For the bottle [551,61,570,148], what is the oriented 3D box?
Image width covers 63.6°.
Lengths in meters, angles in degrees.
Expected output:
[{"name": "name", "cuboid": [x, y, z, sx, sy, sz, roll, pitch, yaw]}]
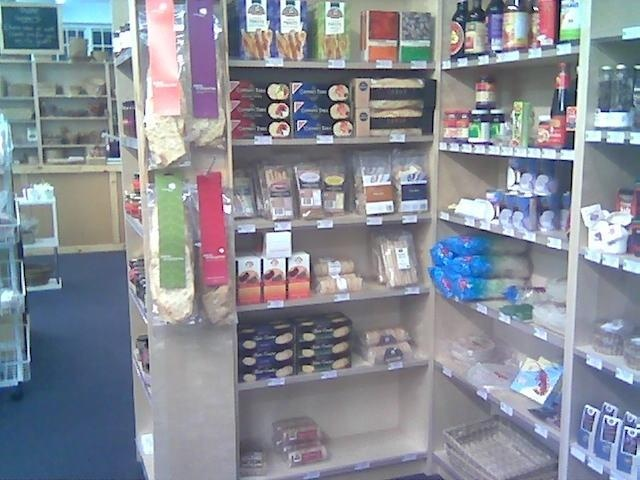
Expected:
[{"name": "bottle", "cuboid": [1.162, -0.656, 2.514, 0.081, 0.390, 0.160, 2, 15, 26]}]

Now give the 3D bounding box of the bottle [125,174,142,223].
[{"name": "bottle", "cuboid": [-1.168, -0.256, 3.248, 0.096, 0.344, 0.245, -1, 5, -4]}]

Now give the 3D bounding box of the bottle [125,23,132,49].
[{"name": "bottle", "cuboid": [-1.086, -1.167, 2.938, 0.022, 0.151, 0.198, -8, 14, -17]}]

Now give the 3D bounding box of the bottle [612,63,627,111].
[{"name": "bottle", "cuboid": [1.325, -0.672, 2.284, 0.065, 0.194, 0.202, 4, 16, 31]}]

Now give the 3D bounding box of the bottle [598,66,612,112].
[{"name": "bottle", "cuboid": [1.260, -0.665, 2.276, 0.065, 0.189, 0.069, -4, 13, 1]}]
